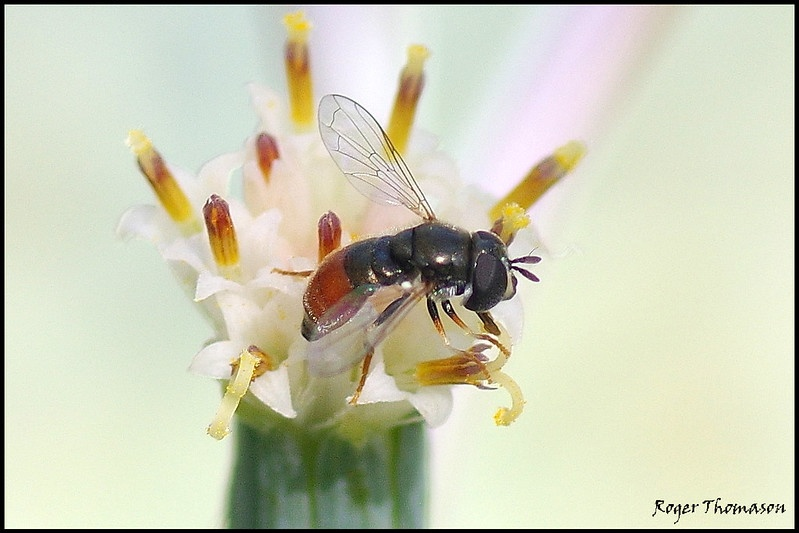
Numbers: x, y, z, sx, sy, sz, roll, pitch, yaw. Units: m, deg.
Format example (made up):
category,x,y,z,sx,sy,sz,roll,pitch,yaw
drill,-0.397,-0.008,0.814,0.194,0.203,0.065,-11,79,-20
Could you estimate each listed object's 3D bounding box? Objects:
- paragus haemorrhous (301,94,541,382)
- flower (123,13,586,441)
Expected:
category,x,y,z,sx,sy,sz,roll,pitch,yaw
paragus haemorrhous,0.012,-0.067,1.101,0.311,0.366,0.095,-12,-10,2
flower,-0.036,0.054,1.093,0.479,0.257,0.472,-13,22,7
